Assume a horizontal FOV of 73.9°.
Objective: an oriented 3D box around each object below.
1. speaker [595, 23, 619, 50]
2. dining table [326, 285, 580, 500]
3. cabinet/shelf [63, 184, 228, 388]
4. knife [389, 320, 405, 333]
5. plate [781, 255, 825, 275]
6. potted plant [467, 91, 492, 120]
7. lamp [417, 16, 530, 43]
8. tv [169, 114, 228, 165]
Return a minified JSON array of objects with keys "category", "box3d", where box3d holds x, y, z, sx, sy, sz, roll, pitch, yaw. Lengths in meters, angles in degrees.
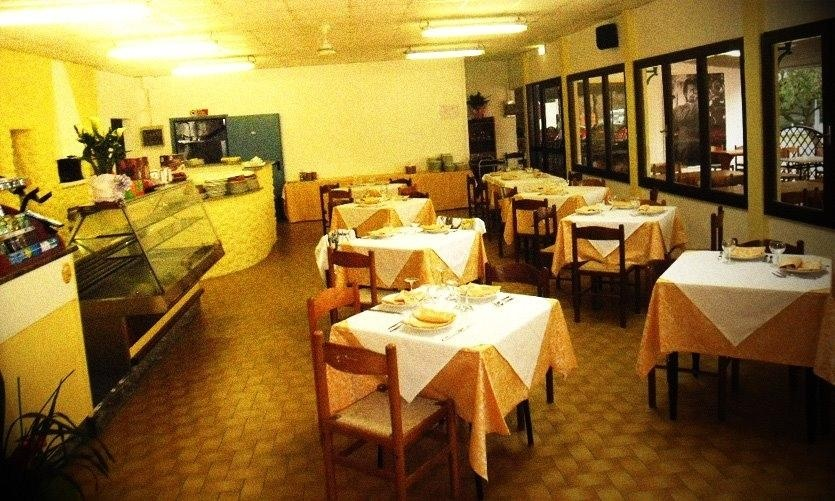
[{"category":"speaker","box3d":[3.929,-4.414,11.348,0.334,0.495,0.509,-10,18,-23]},{"category":"dining table","box3d":[0.199,0.982,4.923,1.689,0.860,1.707,4,10,35]},{"category":"cabinet/shelf","box3d":[-3.227,0.451,6.540,0.893,1.639,2.290,0,13,1]},{"category":"knife","box3d":[-0.174,0.644,4.721,0.047,0.015,0.182,7,19,23]},{"category":"plate","box3d":[3.531,0.131,5.071,0.257,0.053,0.259,6,17,35]},{"category":"potted plant","box3d":[1.930,-4.600,17.349,0.660,0.786,0.675,-1,16,7]},{"category":"lamp","box3d":[1.003,-4.108,10.090,1.793,0.256,0.970,-3,16,1]},{"category":"tv","box3d":[-5.572,-2.898,14.289,1.424,1.175,0.364,-9,17,-19]}]
